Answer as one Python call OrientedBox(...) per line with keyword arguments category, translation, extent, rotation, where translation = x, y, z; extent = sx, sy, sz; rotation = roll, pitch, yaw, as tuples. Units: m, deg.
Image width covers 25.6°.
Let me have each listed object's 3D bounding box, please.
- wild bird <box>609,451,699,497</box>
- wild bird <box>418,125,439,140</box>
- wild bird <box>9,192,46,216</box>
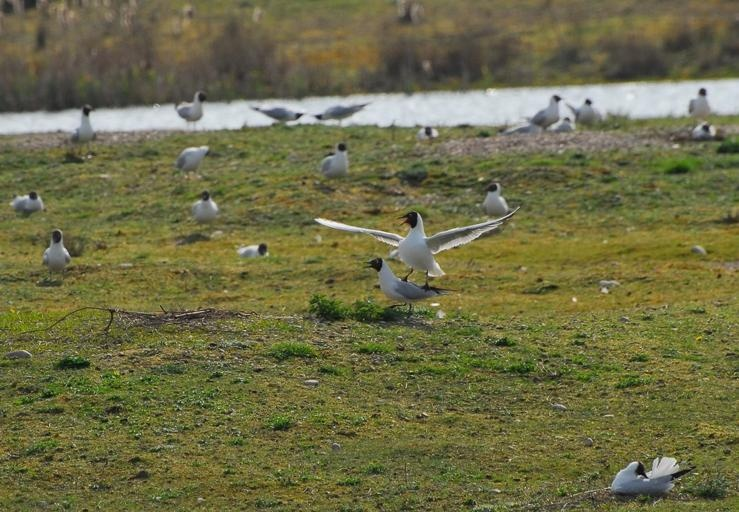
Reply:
OrientedBox(category="wild bird", translation=(6.930, 5.541, 40.830), extent=(1.949, 0.869, 0.466), rotation=(-5, 12, -3))
OrientedBox(category="wild bird", translation=(2.072, -4.441, 58.569), extent=(0.713, 0.176, 0.619), rotation=(1, 38, 4))
OrientedBox(category="wild bird", translation=(-11.309, -1.776, 53.643), extent=(0.753, 0.682, 1.088), rotation=(-10, 19, -38))
